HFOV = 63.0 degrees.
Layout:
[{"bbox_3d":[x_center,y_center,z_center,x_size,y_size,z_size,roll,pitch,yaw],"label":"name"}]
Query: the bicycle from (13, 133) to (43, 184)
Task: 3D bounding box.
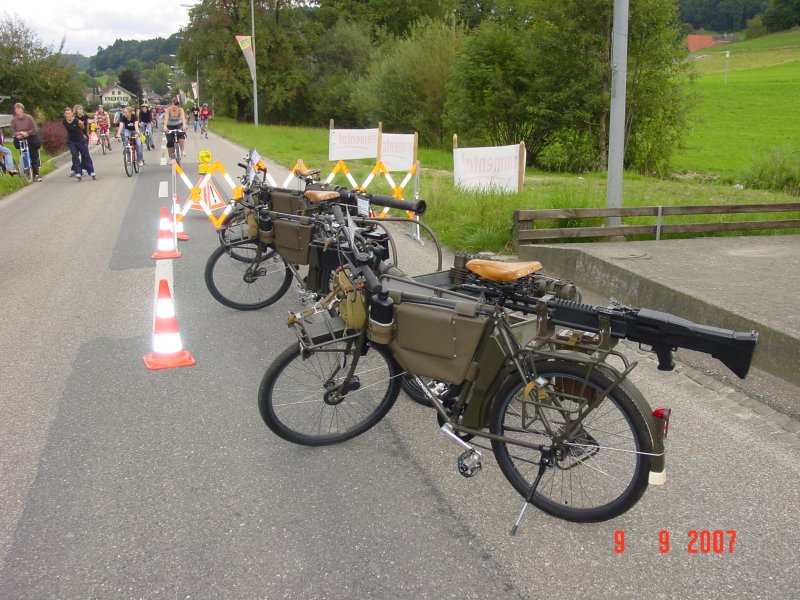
[{"bbox_3d":[-11.142,-4.437,19.575,0.699,0.907,1.433,-2,28,-20],"label":"bicycle"}]
